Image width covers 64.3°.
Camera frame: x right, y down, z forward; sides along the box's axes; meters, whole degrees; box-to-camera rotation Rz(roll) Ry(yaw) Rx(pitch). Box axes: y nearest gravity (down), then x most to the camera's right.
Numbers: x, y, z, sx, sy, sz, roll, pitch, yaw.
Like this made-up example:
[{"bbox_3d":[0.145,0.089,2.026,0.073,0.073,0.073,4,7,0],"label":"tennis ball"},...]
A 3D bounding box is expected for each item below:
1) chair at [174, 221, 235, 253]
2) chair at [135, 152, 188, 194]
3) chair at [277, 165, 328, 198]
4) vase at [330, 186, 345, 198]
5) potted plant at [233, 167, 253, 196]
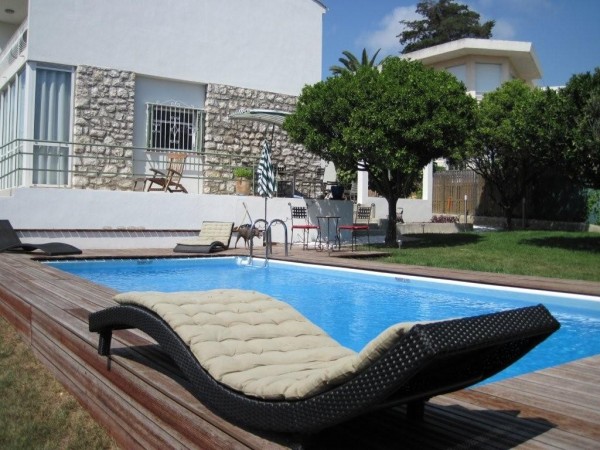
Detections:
[{"bbox_3d":[-2.288,0.350,12.457,0.834,0.630,1.169,-2,1,25],"label":"chair"},{"bbox_3d":[-4.134,-1.578,14.174,1.046,1.279,1.389,6,3,37],"label":"chair"},{"bbox_3d":[-0.042,-1.702,18.043,1.402,1.337,2.962,1,2,32],"label":"chair"},{"bbox_3d":[1.346,-1.160,17.083,0.382,0.471,0.424,1,2,0],"label":"vase"},{"bbox_3d":[-1.900,-1.493,16.179,0.699,0.918,0.733,0,2,-17],"label":"potted plant"}]
